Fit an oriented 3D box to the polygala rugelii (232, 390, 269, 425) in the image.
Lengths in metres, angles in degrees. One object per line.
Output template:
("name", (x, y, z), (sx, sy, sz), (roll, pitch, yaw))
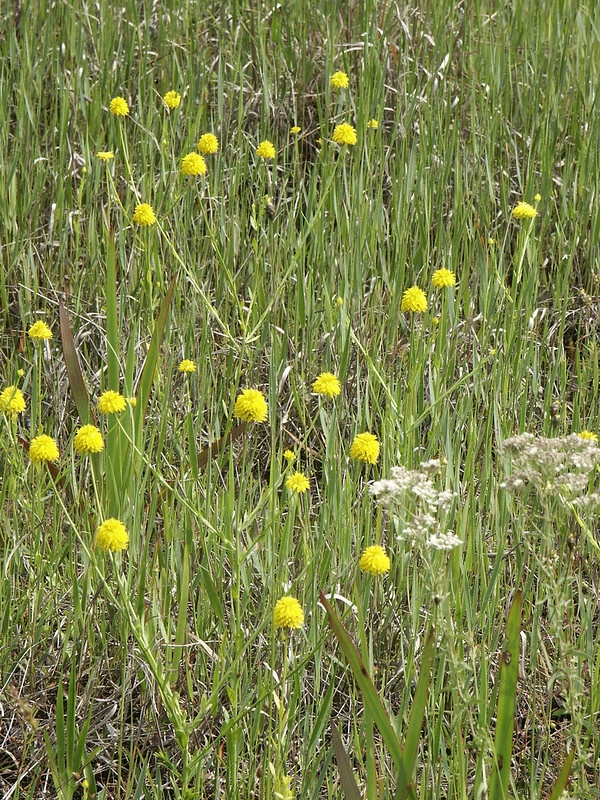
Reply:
("polygala rugelii", (-0.085, -0.001, 1.493), (0.034, 0.081, 0.049), (4, 3, 17))
